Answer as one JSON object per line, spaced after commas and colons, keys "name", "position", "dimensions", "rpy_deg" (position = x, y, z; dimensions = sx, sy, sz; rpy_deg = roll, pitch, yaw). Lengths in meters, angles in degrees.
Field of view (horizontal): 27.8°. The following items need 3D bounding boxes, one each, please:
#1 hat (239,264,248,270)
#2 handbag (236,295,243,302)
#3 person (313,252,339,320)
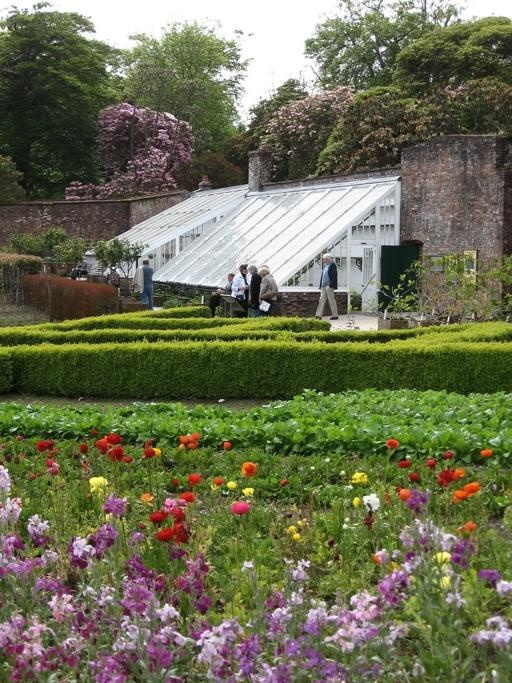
{"name": "hat", "position": [-0.192, -1.336, 18.560], "dimensions": [0.165, 0.157, 0.097], "rpy_deg": [1, 0, -5]}
{"name": "handbag", "position": [-0.281, -0.784, 18.654], "dimensions": [0.131, 0.066, 0.181], "rpy_deg": [0, 7, -2]}
{"name": "person", "position": [1.309, -1.017, 19.019], "dimensions": [0.424, 1.211, 1.381], "rpy_deg": [1, 4, 4]}
